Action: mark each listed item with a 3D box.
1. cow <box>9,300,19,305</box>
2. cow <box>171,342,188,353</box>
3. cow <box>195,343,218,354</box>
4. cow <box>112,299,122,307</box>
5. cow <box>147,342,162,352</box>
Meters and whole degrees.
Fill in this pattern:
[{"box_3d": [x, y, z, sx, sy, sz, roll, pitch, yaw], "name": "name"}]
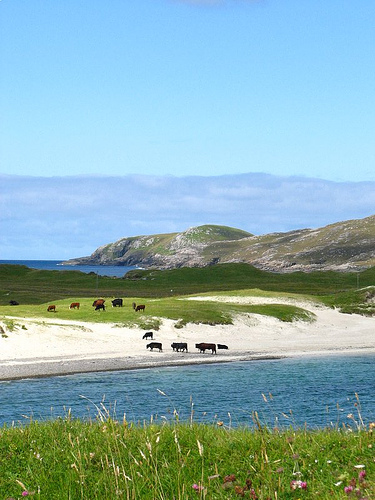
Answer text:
[{"box_3d": [-20.627, 6.283, 89.913, 0.828, 0.631, 1.749, -3, 2, -15], "name": "cow"}, {"box_3d": [-0.506, 6.373, 48.954, 1.022, 0.717, 1.277, -2, 2, -1], "name": "cow"}, {"box_3d": [1.236, 6.436, 49.113, 1.270, 0.769, 1.787, -2, 2, 2], "name": "cow"}, {"box_3d": [-7.192, 5.394, 77.162, 0.951, 0.695, 0.846, -2, 2, 16], "name": "cow"}, {"box_3d": [-2.136, 6.247, 48.541, 0.906, 0.597, 1.548, -2, 2, -3], "name": "cow"}]
